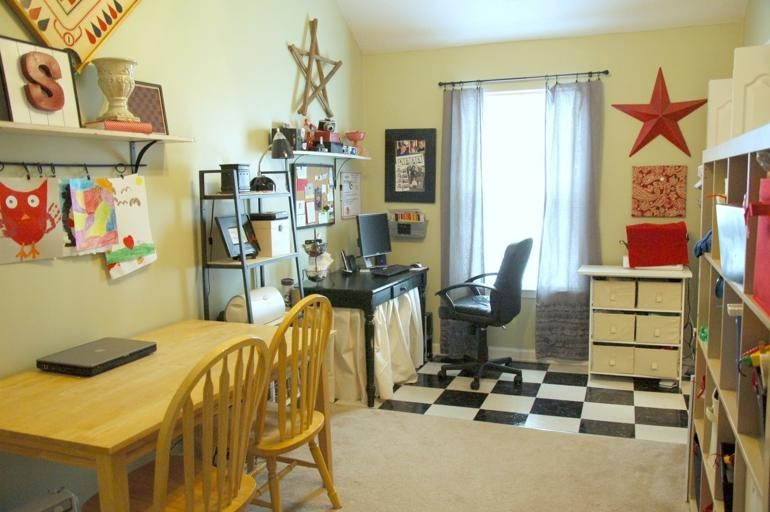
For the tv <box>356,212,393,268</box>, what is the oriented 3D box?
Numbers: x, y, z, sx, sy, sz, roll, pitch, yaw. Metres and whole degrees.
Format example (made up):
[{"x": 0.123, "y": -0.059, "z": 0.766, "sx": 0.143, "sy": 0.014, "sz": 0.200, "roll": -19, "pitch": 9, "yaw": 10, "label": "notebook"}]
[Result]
[{"x": -0.098, "y": -0.147, "z": 5.368, "sx": 0.167, "sy": 0.492, "sz": 0.492, "roll": -7, "pitch": 1, "yaw": 30, "label": "tv"}]

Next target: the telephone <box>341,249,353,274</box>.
[{"x": -0.342, "y": 0.064, "z": 5.276, "sx": 0.107, "sy": 0.204, "sz": 0.209, "roll": -2, "pitch": 5, "yaw": 4, "label": "telephone"}]

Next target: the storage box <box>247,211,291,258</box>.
[{"x": -0.770, "y": -0.134, "z": 4.241, "sx": 0.275, "sy": 0.380, "sz": 0.373, "roll": -1, "pitch": 1, "yaw": 21, "label": "storage box"}]

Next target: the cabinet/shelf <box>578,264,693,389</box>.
[{"x": 2.170, "y": 0.606, "z": 4.934, "sx": 0.991, "sy": 1.196, "sz": 0.572, "roll": 1, "pitch": 1, "yaw": 19, "label": "cabinet/shelf"}]

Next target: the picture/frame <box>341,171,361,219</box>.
[{"x": -0.331, "y": -0.587, "z": 5.618, "sx": 0.080, "sy": 0.590, "sz": 0.521, "roll": 0, "pitch": 1, "yaw": 20, "label": "picture/frame"}]

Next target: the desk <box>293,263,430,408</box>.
[{"x": -0.109, "y": 0.612, "z": 5.163, "sx": 0.650, "sy": 0.886, "sz": 1.241, "roll": 3, "pitch": 10, "yaw": 24, "label": "desk"}]

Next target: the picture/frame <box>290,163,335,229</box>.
[{"x": -0.629, "y": -0.513, "z": 4.994, "sx": 0.038, "sy": 0.468, "sz": 0.577, "roll": 9, "pitch": 18, "yaw": 24, "label": "picture/frame"}]

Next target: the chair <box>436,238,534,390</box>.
[{"x": 0.912, "y": 0.484, "z": 5.199, "sx": 0.754, "sy": 1.228, "sz": 0.766, "roll": 5, "pitch": 8, "yaw": 37, "label": "chair"}]

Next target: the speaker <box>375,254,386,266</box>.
[{"x": -0.047, "y": 0.043, "z": 5.483, "sx": 0.096, "sy": 0.099, "sz": 0.104, "roll": -2, "pitch": -2, "yaw": 37, "label": "speaker"}]

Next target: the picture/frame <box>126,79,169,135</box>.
[{"x": -1.381, "y": -0.880, "z": 3.460, "sx": 0.109, "sy": 0.300, "sz": 0.311, "roll": 3, "pitch": 13, "yaw": 16, "label": "picture/frame"}]
